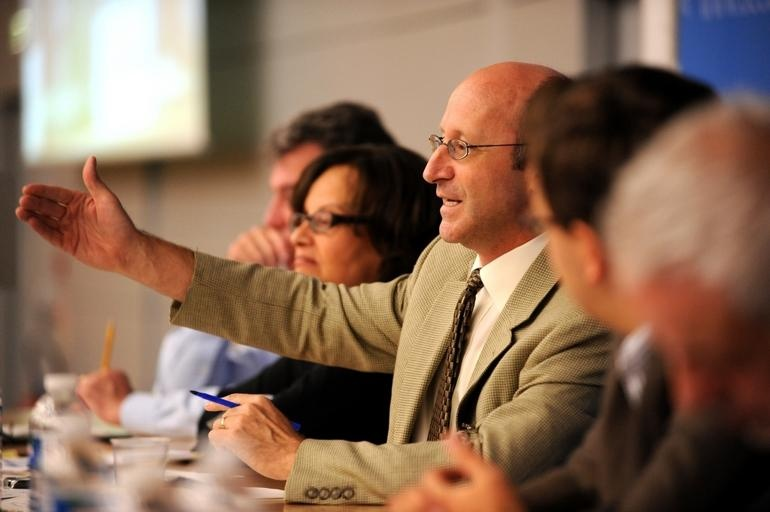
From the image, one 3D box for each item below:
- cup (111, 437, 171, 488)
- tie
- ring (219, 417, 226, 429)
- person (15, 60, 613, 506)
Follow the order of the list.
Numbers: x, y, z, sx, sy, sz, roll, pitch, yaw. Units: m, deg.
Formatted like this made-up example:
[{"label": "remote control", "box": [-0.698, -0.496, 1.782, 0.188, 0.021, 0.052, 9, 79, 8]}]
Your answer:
[{"label": "cup", "box": [-0.361, 0.304, 1.280, 0.062, 0.068, 0.071, 5, -7, -41]}, {"label": "tie", "box": [0.167, 0.156, 1.859, 0.054, 0.507, 0.063, -15, -47, 37]}, {"label": "ring", "box": [-0.325, 0.335, 1.742, 0.007, 0.021, 0.024, -4, 1, -37]}, {"label": "person", "box": [-0.170, 0.110, 2.403, 1.127, 1.830, 0.831, 5, -7, -5]}]
